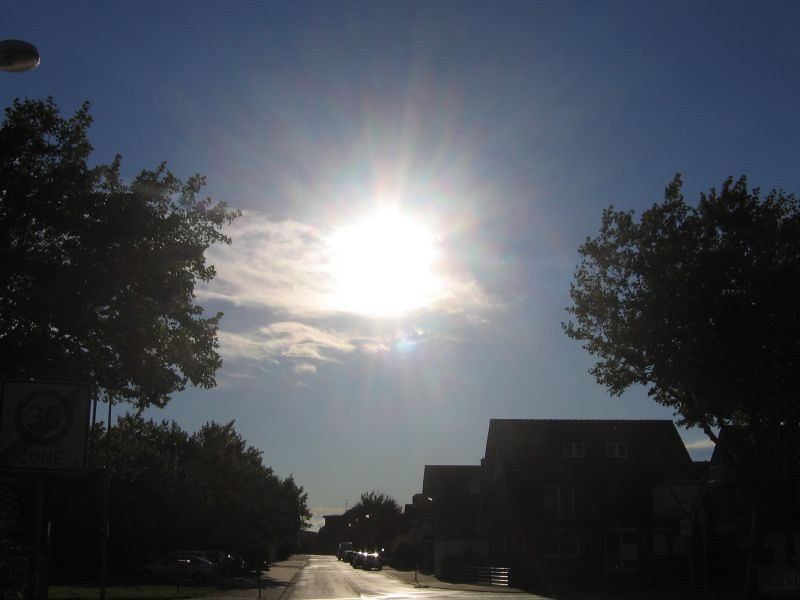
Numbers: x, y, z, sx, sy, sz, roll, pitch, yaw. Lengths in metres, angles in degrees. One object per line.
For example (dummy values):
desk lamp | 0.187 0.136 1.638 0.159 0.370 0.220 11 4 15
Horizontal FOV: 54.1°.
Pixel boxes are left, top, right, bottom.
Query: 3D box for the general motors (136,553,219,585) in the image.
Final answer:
general motors | -12.314 14.679 43.032 3.644 1.595 1.876 4 -12 -1
